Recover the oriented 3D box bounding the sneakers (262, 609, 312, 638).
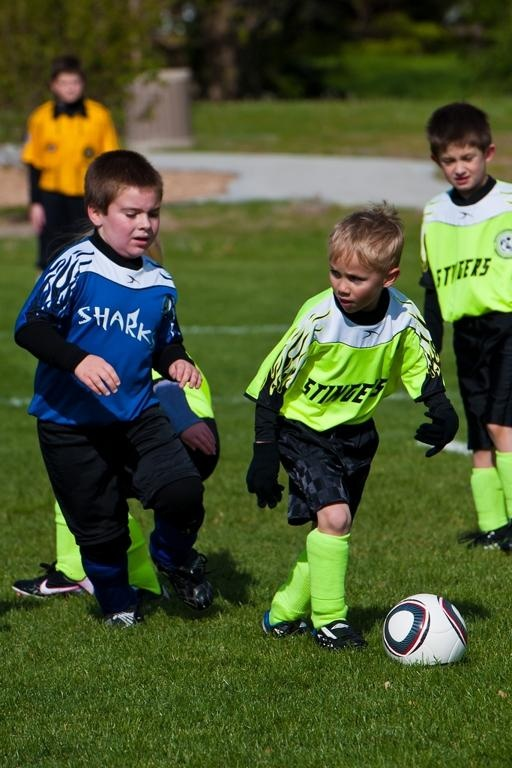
[{"bbox_3d":[0.127,0.829,2.971,0.190,0.059,0.079,-5,3,-20],"label":"sneakers"}]

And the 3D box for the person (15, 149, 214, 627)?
[{"bbox_3d":[-0.495,0.048,2.819,0.566,1.639,0.752,-1,8,17],"label":"person"}]

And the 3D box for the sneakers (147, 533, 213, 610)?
[{"bbox_3d":[-0.289,0.706,3.218,0.116,0.301,0.133,-34,-7,-42],"label":"sneakers"}]

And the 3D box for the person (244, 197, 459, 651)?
[{"bbox_3d":[0.301,0.151,2.751,0.655,1.420,0.370,-3,7,2],"label":"person"}]

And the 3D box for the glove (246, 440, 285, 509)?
[{"bbox_3d":[0.041,0.288,2.687,0.134,0.182,0.074,-6,-1,26],"label":"glove"}]

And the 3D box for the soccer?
[{"bbox_3d":[0.493,0.755,2.672,0.229,0.202,0.200,15,-33,8],"label":"soccer"}]

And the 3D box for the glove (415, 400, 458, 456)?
[{"bbox_3d":[0.571,0.140,2.746,0.128,0.215,0.225,-2,7,12],"label":"glove"}]

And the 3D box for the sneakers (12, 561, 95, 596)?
[{"bbox_3d":[-0.813,0.794,3.540,0.399,0.149,0.123,2,-5,-4],"label":"sneakers"}]
